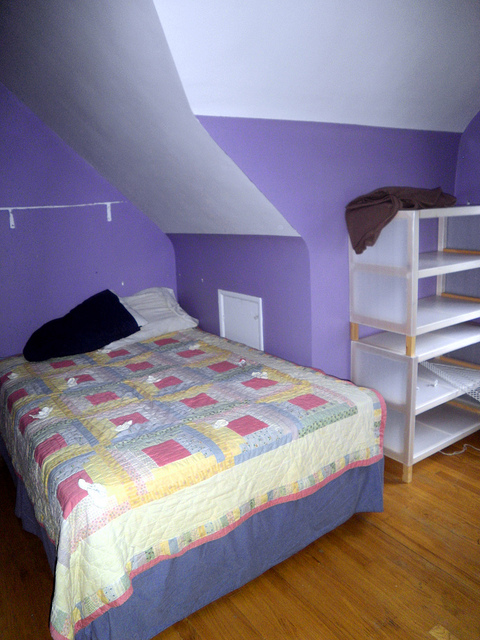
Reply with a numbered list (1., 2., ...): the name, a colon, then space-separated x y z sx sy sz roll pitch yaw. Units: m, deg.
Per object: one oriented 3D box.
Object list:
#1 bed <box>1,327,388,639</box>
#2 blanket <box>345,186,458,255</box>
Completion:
1. bed: -0.416 0.450 1.862 1.106 0.410 1.081 -12 19 -37
2. blanket: 0.774 -0.479 2.214 0.493 0.308 0.321 -6 13 -15
